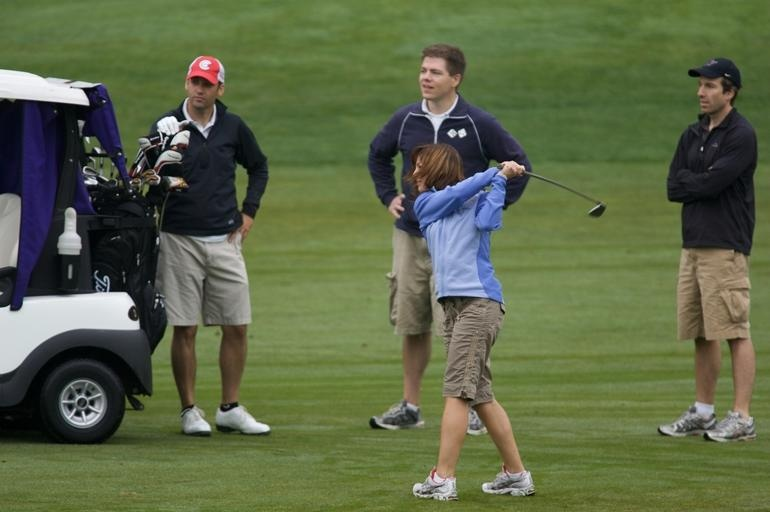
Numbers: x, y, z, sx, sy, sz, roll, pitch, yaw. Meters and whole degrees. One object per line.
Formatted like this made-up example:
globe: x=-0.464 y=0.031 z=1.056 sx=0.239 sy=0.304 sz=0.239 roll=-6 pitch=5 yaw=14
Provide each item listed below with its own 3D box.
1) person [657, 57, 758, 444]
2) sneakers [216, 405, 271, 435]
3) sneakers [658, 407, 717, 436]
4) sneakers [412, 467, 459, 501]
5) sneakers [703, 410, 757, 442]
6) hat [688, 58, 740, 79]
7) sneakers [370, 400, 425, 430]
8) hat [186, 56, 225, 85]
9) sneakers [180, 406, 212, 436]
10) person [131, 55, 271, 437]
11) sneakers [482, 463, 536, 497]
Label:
person: x=2.670 y=-0.079 z=12.755 sx=0.747 sy=3.000 sz=1.131 roll=2 pitch=12 yaw=5
sneakers: x=-1.184 y=1.342 z=12.767 sx=0.512 sy=0.209 sz=0.187 roll=3 pitch=2 yaw=5
sneakers: x=2.456 y=1.353 z=12.810 sx=0.534 sy=0.223 sz=0.195 roll=-2 pitch=2 yaw=-4
sneakers: x=0.364 y=1.650 z=11.296 sx=0.379 sy=0.193 sz=0.156 roll=1 pitch=0 yaw=18
sneakers: x=2.770 y=1.380 z=12.570 sx=0.495 sy=0.216 sz=0.187 roll=0 pitch=1 yaw=-12
hat: x=2.712 y=-1.543 z=12.894 sx=0.377 sy=0.167 sz=0.240 roll=4 pitch=6 yaw=-8
sneakers: x=0.093 y=1.350 z=13.071 sx=0.498 sy=0.222 sz=0.195 roll=2 pitch=-4 yaw=-21
hat: x=-1.469 y=-1.493 z=12.739 sx=0.275 sy=0.203 sz=0.371 roll=8 pitch=10 yaw=4
sneakers: x=-1.539 y=1.318 z=12.567 sx=0.251 sy=0.220 sz=0.192 roll=1 pitch=11 yaw=3
person: x=-1.438 y=-0.070 z=12.683 sx=0.883 sy=3.026 sz=0.929 roll=-1 pitch=12 yaw=-9
sneakers: x=0.893 y=1.651 z=11.402 sx=0.402 sy=0.199 sz=0.160 roll=1 pitch=1 yaw=10
